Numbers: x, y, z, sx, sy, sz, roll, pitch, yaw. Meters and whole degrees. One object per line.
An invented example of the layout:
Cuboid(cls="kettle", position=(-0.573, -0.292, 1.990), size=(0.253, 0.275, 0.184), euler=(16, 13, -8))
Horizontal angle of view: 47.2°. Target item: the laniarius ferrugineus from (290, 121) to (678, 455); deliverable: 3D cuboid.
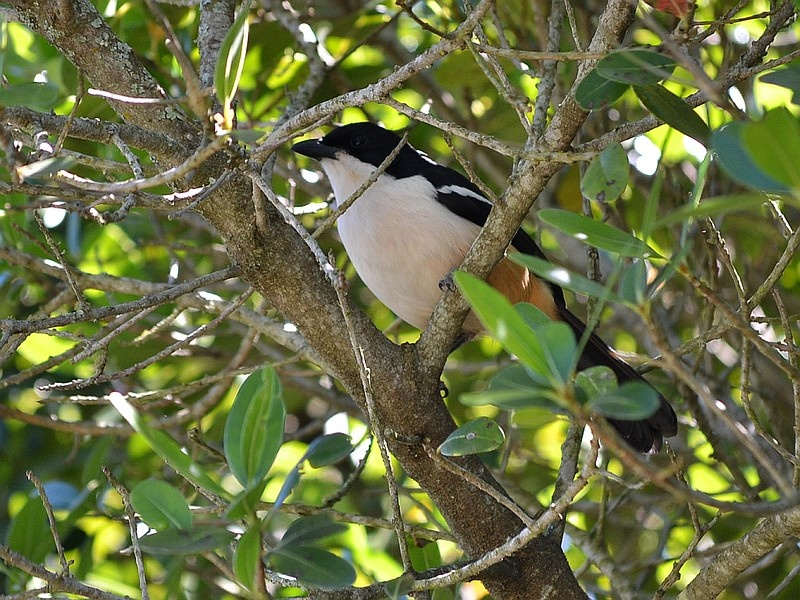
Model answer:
Cuboid(cls="laniarius ferrugineus", position=(0.365, -0.279, 5.014), size=(2.002, 0.699, 0.903), euler=(13, 63, -32))
